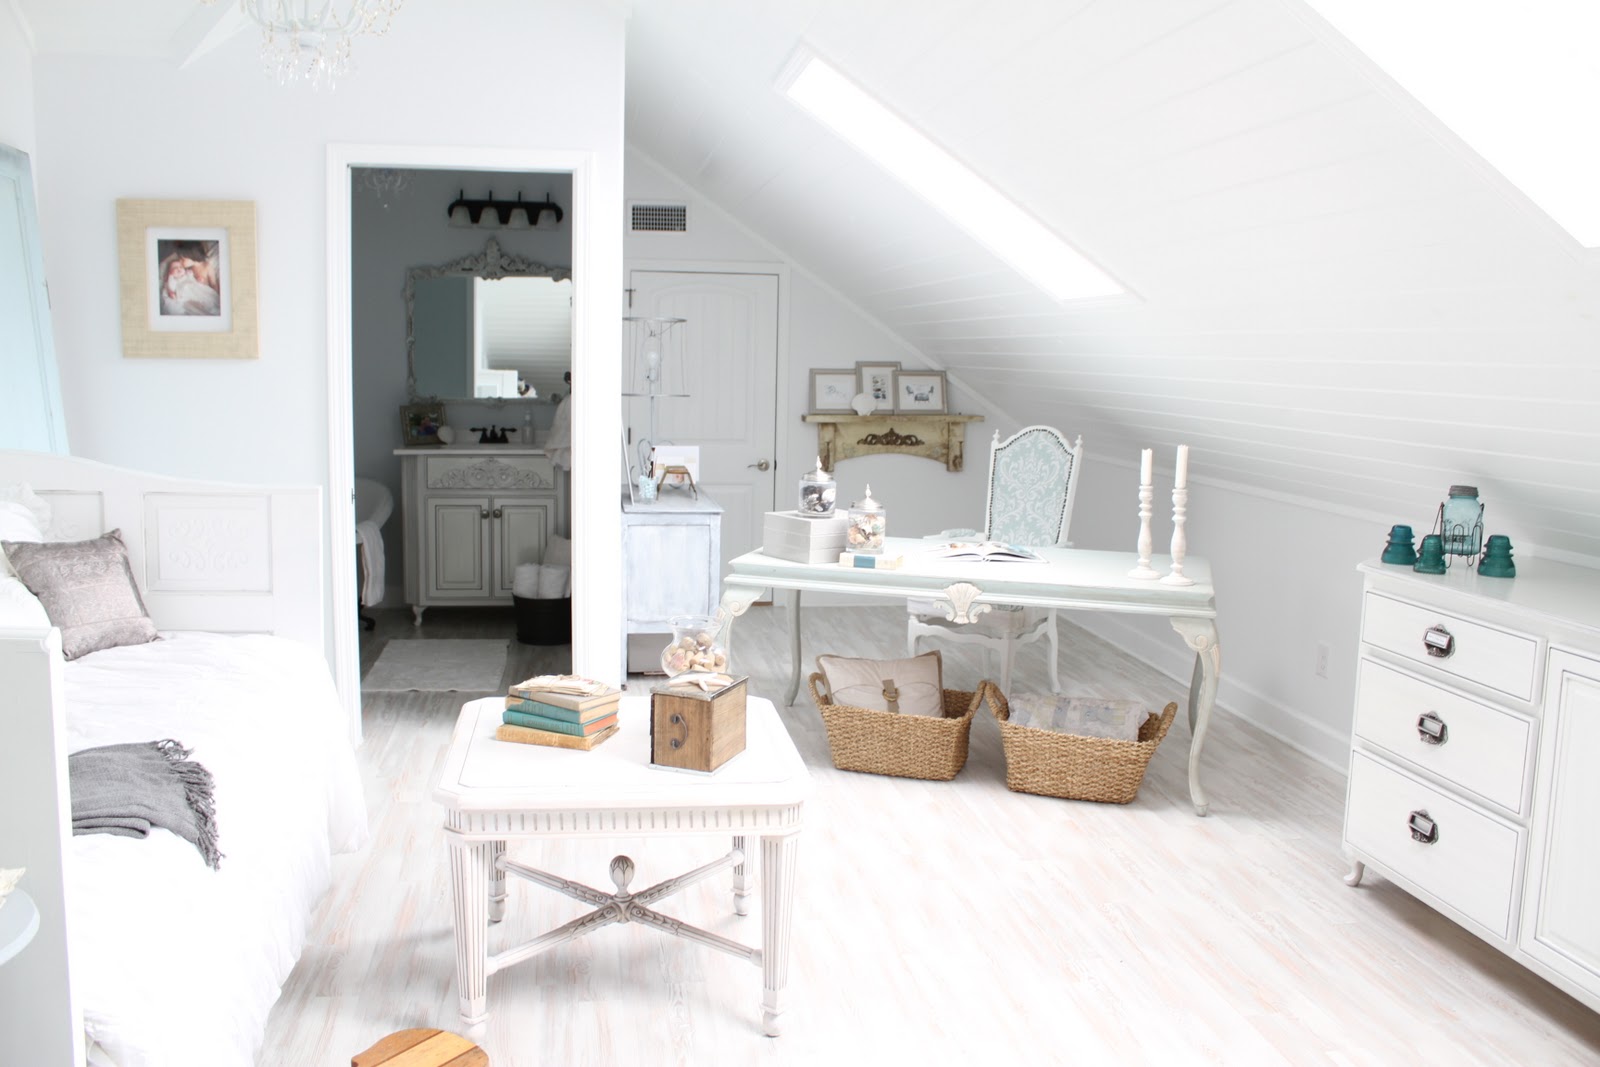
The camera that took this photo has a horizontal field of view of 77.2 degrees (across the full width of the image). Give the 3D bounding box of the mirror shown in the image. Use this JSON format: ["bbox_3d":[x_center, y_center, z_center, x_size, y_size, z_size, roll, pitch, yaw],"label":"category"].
[{"bbox_3d":[-2.202,-1.419,6.896,1.526,1.487,0.077,0,12,-1],"label":"mirror"}]

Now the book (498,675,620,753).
[{"bbox_3d":[-0.654,0.470,2.780,0.221,0.102,0.215,2,1,8],"label":"book"}]

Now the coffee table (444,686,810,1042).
[{"bbox_3d":[-0.471,0.704,2.942,1.123,0.805,0.886,0,6,-3],"label":"coffee table"}]

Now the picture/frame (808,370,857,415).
[{"bbox_3d":[0.209,-0.989,6.907,0.320,0.282,0.021,0,6,-4],"label":"picture/frame"}]

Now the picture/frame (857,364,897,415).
[{"bbox_3d":[0.527,-0.993,6.894,0.376,0.435,0.034,0,3,-1],"label":"picture/frame"}]

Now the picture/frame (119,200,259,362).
[{"bbox_3d":[-2.620,-1.111,4.252,0.702,0.832,0.063,0,4,-7],"label":"picture/frame"}]

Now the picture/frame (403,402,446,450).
[{"bbox_3d":[-2.575,-0.738,6.902,0.345,0.340,0.321,1,4,-5],"label":"picture/frame"}]

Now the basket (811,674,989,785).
[{"bbox_3d":[0.457,0.721,4.402,0.703,0.393,0.425,1,-8,8],"label":"basket"}]

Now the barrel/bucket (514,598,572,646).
[{"bbox_3d":[-1.496,0.513,5.932,0.346,0.219,0.278,0,6,-8],"label":"barrel/bucket"}]

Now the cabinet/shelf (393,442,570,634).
[{"bbox_3d":[-2.038,0.021,6.503,1.243,1.137,0.510,0,5,-5],"label":"cabinet/shelf"}]

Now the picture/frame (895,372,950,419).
[{"bbox_3d":[0.837,-0.963,6.908,0.331,0.272,0.033,2,0,-7],"label":"picture/frame"}]

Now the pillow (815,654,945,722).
[{"bbox_3d":[0.380,0.662,4.392,0.364,0.115,0.329,4,37,-4],"label":"pillow"}]
